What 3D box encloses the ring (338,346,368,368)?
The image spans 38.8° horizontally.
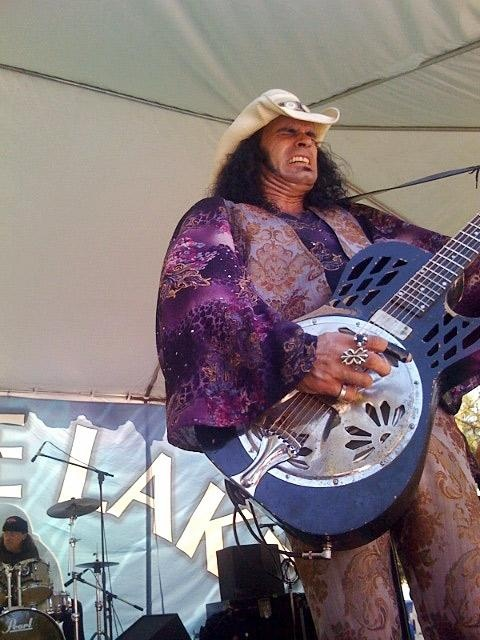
[{"bbox_3d":[0.277,0.089,1.676,0.077,0.045,0.009,1,-41,8],"label":"ring"}]

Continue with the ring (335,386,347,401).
[{"bbox_3d":[0.251,0.178,1.684,0.034,0.028,0.031,16,-6,2],"label":"ring"}]

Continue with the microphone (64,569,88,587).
[{"bbox_3d":[-0.995,1.556,4.139,0.125,0.076,0.044,-7,-39,-3],"label":"microphone"}]

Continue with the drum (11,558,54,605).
[{"bbox_3d":[-1.229,1.550,4.043,0.258,0.206,0.210,-2,3,-23],"label":"drum"}]

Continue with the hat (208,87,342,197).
[{"bbox_3d":[0.081,-0.699,2.579,0.412,0.139,0.490,3,-27,-40],"label":"hat"}]

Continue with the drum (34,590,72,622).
[{"bbox_3d":[-1.077,1.663,3.992,0.189,0.117,0.163,-16,-47,0],"label":"drum"}]
